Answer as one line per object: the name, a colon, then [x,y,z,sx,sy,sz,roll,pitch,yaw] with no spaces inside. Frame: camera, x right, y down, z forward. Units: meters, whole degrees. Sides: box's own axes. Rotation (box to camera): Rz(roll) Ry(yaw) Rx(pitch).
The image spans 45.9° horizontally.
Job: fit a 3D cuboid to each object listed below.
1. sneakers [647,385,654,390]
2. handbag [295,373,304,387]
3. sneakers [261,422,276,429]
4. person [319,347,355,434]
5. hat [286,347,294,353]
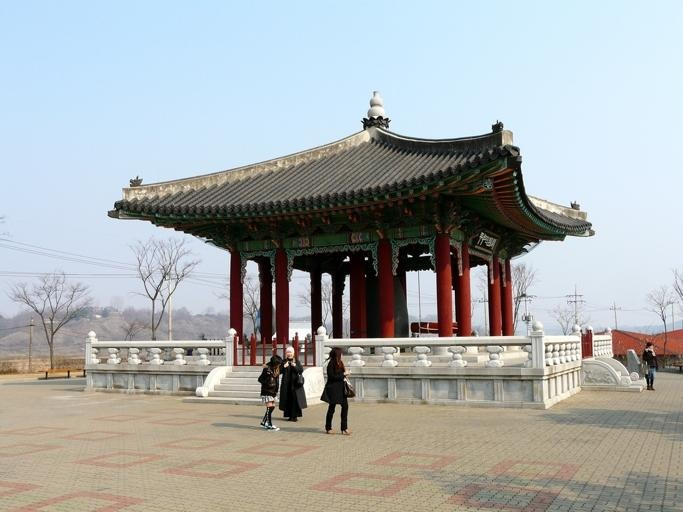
sneakers: [11.313,4.868,29.759,0.208,0.212,0.210,0,-1,41]
handbag: [-1.092,3.176,20.624,0.191,0.377,0.369,-5,0,14]
sneakers: [-1.858,4.310,20.450,0.536,0.185,0.224,-11,-13,41]
person: [-0.134,3.369,20.213,0.760,2.119,1.409,-1,-9,-2]
hat: [-1.294,2.348,20.197,0.134,0.134,0.171,-2,-12,-4]
